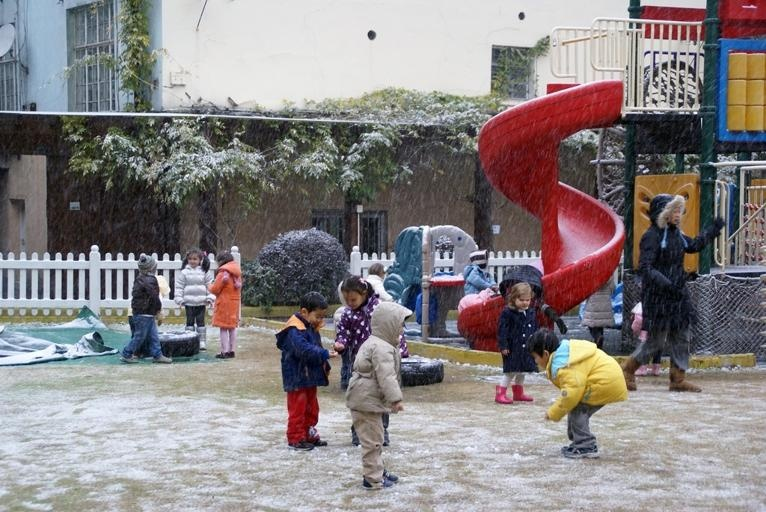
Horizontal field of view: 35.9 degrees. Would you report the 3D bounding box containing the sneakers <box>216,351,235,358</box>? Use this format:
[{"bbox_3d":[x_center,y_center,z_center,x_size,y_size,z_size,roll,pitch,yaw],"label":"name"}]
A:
[{"bbox_3d":[-2.887,1.786,21.573,0.263,0.143,0.131,3,3,26],"label":"sneakers"}]

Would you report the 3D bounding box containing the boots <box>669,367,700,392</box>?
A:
[{"bbox_3d":[4.794,1.994,19.226,0.584,0.489,0.256,-2,1,1],"label":"boots"}]

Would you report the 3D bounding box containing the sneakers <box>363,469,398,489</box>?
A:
[{"bbox_3d":[-0.021,3.035,16.354,0.558,0.298,0.203,-5,13,-19],"label":"sneakers"}]

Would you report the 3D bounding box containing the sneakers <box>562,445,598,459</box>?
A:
[{"bbox_3d":[2.798,2.787,16.819,0.448,0.249,0.199,5,0,2],"label":"sneakers"}]

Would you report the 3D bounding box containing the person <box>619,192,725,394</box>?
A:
[{"bbox_3d":[4.539,0.593,18.993,1.308,3.091,0.838,1,14,8],"label":"person"}]

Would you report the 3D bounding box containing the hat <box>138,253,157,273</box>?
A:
[{"bbox_3d":[-4.181,0.155,21.022,0.285,0.456,0.472,-4,15,-14],"label":"hat"}]

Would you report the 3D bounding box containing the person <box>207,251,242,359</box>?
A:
[{"bbox_3d":[-2.876,0.895,21.635,0.559,1.953,0.690,-3,14,-9],"label":"person"}]

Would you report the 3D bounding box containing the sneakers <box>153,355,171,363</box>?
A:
[{"bbox_3d":[-3.912,1.815,21.033,0.322,0.167,0.131,1,5,0],"label":"sneakers"}]

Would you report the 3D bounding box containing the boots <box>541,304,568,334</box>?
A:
[{"bbox_3d":[2.693,1.028,19.098,0.395,0.564,0.186,11,-48,-38],"label":"boots"}]

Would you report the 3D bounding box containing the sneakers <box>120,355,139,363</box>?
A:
[{"bbox_3d":[-4.489,1.821,20.994,0.323,0.134,0.150,2,-9,-15],"label":"sneakers"}]

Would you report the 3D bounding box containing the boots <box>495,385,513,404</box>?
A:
[{"bbox_3d":[1.915,2.198,18.830,0.171,0.313,0.333,3,-6,-44],"label":"boots"}]
